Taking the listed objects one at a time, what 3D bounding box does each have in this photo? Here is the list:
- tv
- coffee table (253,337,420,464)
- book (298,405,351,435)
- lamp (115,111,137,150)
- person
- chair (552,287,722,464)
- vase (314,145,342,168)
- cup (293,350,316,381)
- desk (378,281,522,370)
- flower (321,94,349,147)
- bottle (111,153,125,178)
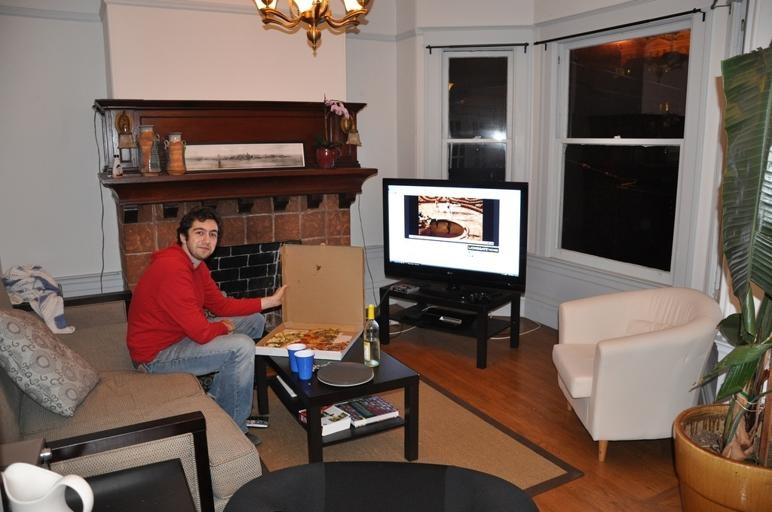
[{"bbox_3d":[0.632,-0.155,4.872,1.127,0.767,0.090,4,12,19],"label":"tv"},{"bbox_3d":[-0.258,1.064,3.658,0.677,0.503,0.988,-5,-2,-19],"label":"coffee table"},{"bbox_3d":[-0.310,1.014,3.347,0.180,0.068,0.232,-8,15,-33],"label":"book"},{"bbox_3d":[-2.060,-0.997,4.335,0.132,0.291,0.165,-8,13,-25],"label":"lamp"},{"bbox_3d":[-1.172,0.465,3.735,1.103,1.382,0.739,0,9,-16],"label":"person"},{"bbox_3d":[1.532,0.659,3.865,1.061,1.106,1.107,-2,14,-3],"label":"chair"},{"bbox_3d":[-0.541,-0.908,5.017,0.165,0.145,0.201,0,0,-19],"label":"vase"},{"bbox_3d":[-0.489,0.645,3.284,0.159,0.167,0.154,-1,9,0],"label":"cup"},{"bbox_3d":[0.571,0.493,4.943,1.206,0.563,0.729,10,18,35],"label":"desk"},{"bbox_3d":[-0.442,-1.239,5.009,0.247,0.435,0.230,-4,12,-9],"label":"flower"},{"bbox_3d":[-2.125,-0.716,4.337,0.087,0.169,0.171,-8,13,-25],"label":"bottle"}]
